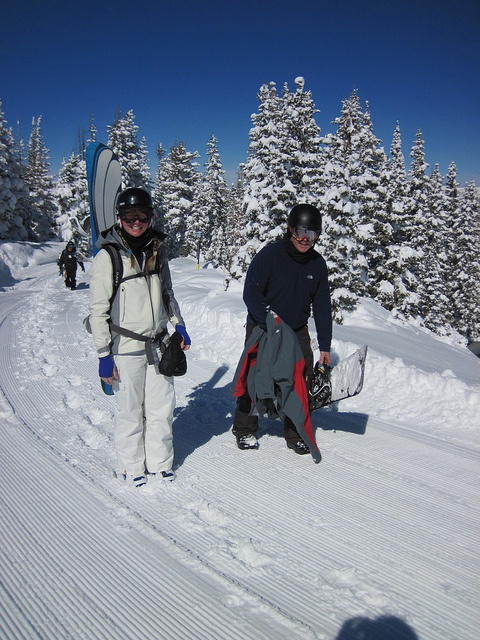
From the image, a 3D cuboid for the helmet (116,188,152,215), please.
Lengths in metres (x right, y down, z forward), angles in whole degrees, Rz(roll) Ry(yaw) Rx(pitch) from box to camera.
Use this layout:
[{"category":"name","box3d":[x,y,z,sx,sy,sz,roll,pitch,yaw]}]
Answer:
[{"category":"helmet","box3d":[-0.793,-0.896,3.863,0.274,0.202,0.244,1,14,-12]}]

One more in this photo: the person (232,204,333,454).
[{"category":"person","box3d":[0.435,0.084,4.830,0.906,2.313,0.595,4,13,-2]}]

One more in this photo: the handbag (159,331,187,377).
[{"category":"handbag","box3d":[-0.540,0.265,4.052,0.189,0.351,0.251,-7,-21,6]}]

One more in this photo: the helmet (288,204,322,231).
[{"category":"helmet","box3d":[0.564,-0.881,4.502,0.228,0.198,0.261,4,37,-8]}]

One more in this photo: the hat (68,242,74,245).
[{"category":"hat","box3d":[-5.919,-2.674,17.914,0.140,0.058,0.193,5,13,-30]}]

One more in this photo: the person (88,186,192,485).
[{"category":"person","box3d":[-0.782,0.132,4.083,0.802,2.291,0.628,-3,15,-26]}]
